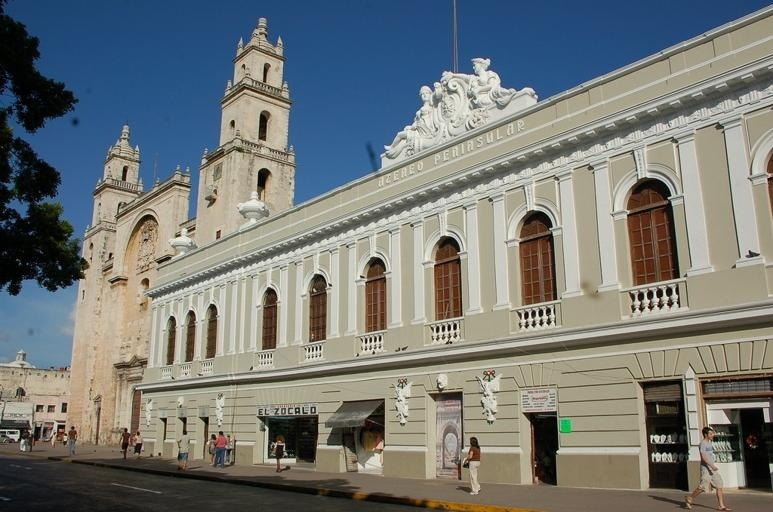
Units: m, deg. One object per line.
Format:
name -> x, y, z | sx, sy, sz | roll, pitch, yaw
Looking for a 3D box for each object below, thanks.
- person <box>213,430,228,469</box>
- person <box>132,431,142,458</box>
person -> -8.521, 9.961, 34.190 | 0.529, 1.689, 1.351 | 6, -22, -12
person -> -15.565, 11.787, 41.727 | 0.378, 1.511, 2.235 | 9, -23, -20
